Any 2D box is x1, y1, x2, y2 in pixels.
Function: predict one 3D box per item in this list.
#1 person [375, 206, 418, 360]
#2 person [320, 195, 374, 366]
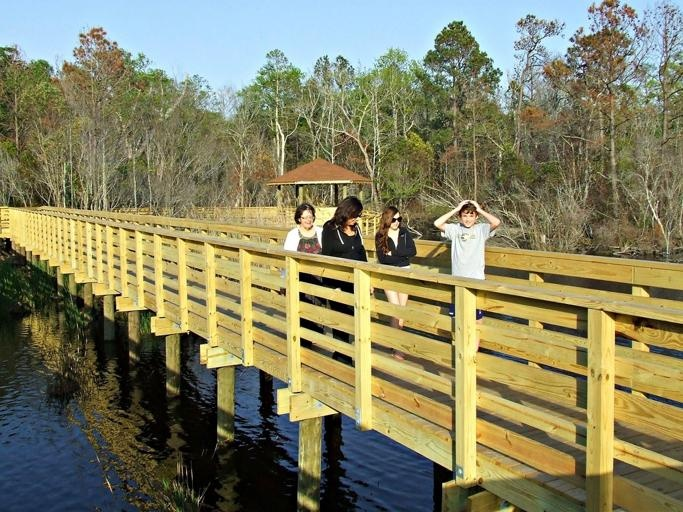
[{"bbox_3d":[0.830,0.148,7.733,0.504,1.746,0.412,-2,35,22],"label":"person"},{"bbox_3d":[0.026,0.342,7.140,0.517,2.072,1.144,1,8,2],"label":"person"}]
